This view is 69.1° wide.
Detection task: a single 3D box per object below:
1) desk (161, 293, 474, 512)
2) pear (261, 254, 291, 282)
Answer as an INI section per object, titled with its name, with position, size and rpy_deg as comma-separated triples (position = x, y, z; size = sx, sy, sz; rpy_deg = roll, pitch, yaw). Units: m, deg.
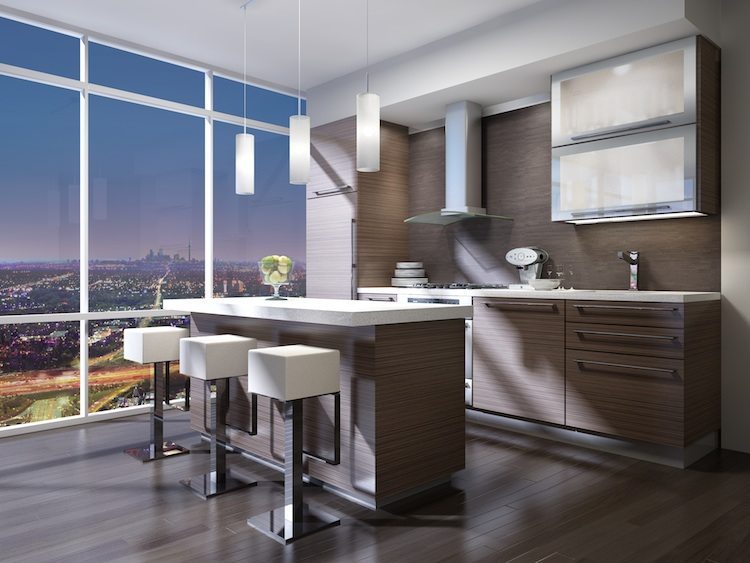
[desk]
position = -0.451, 0.771, 4.122
size = 1.267, 1.036, 2.307
rpy_deg = 4, -5, -44
[pear]
position = -0.758, -0.100, 4.163
size = 0.220, 0.141, 0.201
rpy_deg = 5, -9, -32
